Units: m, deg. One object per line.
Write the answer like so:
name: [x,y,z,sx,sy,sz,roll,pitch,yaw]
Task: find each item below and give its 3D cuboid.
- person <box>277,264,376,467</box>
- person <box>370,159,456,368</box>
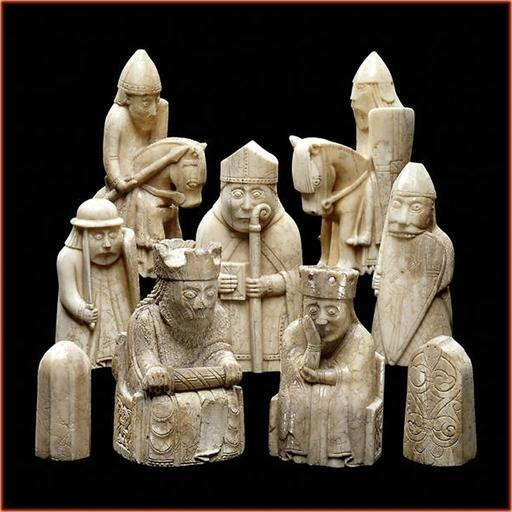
person: [0.528,0.809,8.546,0.827,1.421,0.522,4,19,8]
person: [1.339,-0.003,10.036,0.671,1.892,0.557,13,29,23]
